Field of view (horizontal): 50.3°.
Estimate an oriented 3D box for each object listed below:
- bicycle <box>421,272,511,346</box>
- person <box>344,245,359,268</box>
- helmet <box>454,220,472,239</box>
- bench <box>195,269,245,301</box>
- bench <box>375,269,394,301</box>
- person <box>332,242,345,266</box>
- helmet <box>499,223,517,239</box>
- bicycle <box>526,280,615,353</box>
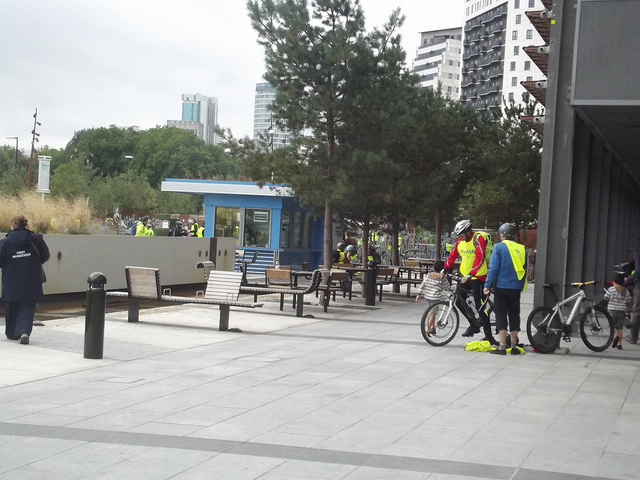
[{"bbox_3d":[2.852,1.343,12.773,1.914,1.320,0.877,3,1,-9],"label":"bicycle"},{"bbox_3d":[0.948,0.504,22.399,0.587,0.918,0.444,-1,4,-3],"label":"person"},{"bbox_3d":[2.712,-0.223,13.024,0.320,0.337,0.257,0,-6,-20],"label":"helmet"},{"bbox_3d":[-2.050,0.942,14.059,0.764,0.580,0.544,-1,-5,-8],"label":"bench"},{"bbox_3d":[2.073,1.412,21.847,0.518,0.852,2.654,2,1,7],"label":"bench"},{"bbox_3d":[0.623,0.479,22.581,0.366,0.765,0.574,-1,-12,26],"label":"person"},{"bbox_3d":[3.362,-0.184,12.382,0.295,0.306,0.231,17,12,42],"label":"helmet"},{"bbox_3d":[4.630,1.421,12.674,0.884,1.275,1.863,2,-7,-38],"label":"bicycle"}]
